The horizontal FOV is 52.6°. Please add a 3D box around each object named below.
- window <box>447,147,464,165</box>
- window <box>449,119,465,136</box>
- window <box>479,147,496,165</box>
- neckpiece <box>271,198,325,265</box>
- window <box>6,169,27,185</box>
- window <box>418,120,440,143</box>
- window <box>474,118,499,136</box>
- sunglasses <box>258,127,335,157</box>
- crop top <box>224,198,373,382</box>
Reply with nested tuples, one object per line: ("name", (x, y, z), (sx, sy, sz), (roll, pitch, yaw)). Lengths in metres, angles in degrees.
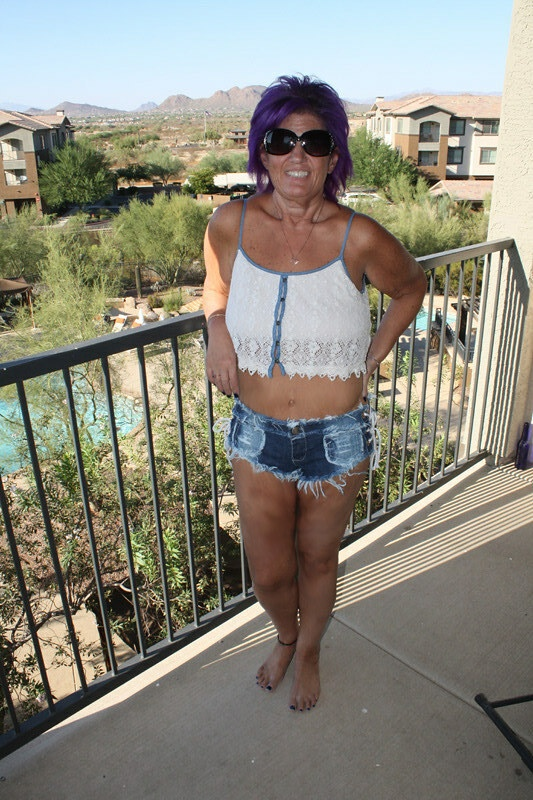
("window", (15.940, -20.896, 45.714), (1.279, 1.249, 0.398), (-1, 23, 1))
("window", (15.799, -22.956, 45.026), (1.156, 1.217, 0.114), (-5, 28, -4))
("window", (18.475, -20.508, 45.236), (1.108, 1.279, 0.651), (-6, 23, -12))
("neckpiece", (0.064, -0.337, 1.086), (0.136, 0.176, 0.005), (1, -6, 1))
("window", (-20.158, -17.947, 43.335), (1.686, 1.680, 1.213), (-5, 12, -23))
("window", (13.680, -22.791, 45.377), (1.819, 1.924, 0.138), (0, 18, 3))
("window", (18.478, -22.965, 45.290), (1.861, 1.146, 0.832), (-13, 25, -25))
("sunglasses", (0.075, -0.524, 1.096), (0.153, 0.056, 0.105), (-5, 24, -8))
("crop top", (0.062, -0.223, 1.138), (0.312, 0.361, 0.201), (3, 23, 11))
